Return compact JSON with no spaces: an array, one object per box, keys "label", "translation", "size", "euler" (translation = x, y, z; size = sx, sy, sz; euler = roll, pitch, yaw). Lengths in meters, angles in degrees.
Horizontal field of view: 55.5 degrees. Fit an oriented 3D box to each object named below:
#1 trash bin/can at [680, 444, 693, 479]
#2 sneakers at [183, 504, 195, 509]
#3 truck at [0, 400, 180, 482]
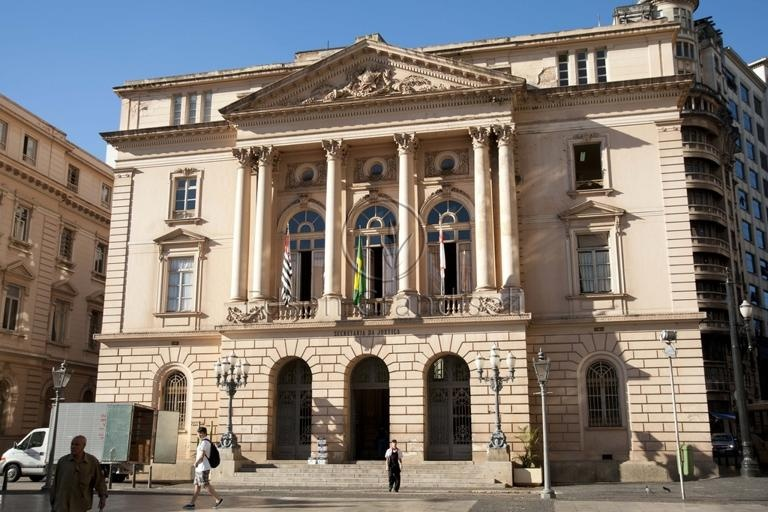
[{"label":"trash bin/can","translation":[12.308,8.298,29.712],"size":[0.450,1.069,1.550],"euler":[-8,-18,21]},{"label":"sneakers","translation":[-7.233,9.314,27.014],"size":[0.462,0.172,0.151],"euler":[-4,-23,15]},{"label":"truck","translation":[-16.110,8.779,37.444],"size":[10.040,4.351,4.401],"euler":[0,-24,-1]}]
